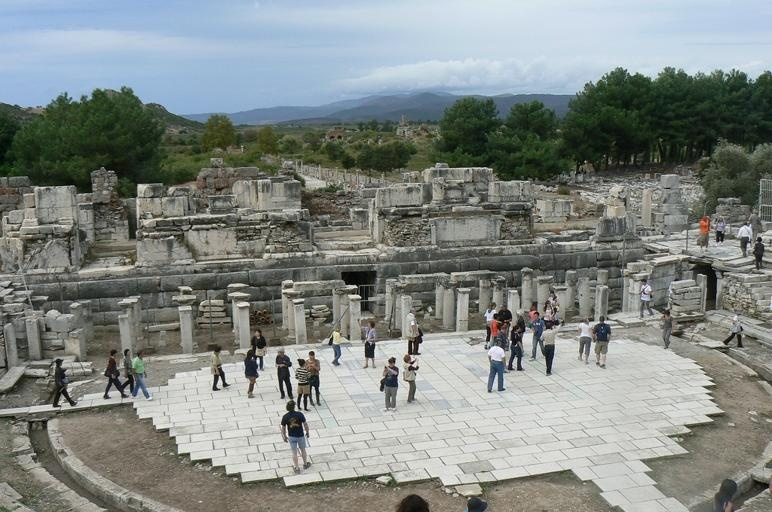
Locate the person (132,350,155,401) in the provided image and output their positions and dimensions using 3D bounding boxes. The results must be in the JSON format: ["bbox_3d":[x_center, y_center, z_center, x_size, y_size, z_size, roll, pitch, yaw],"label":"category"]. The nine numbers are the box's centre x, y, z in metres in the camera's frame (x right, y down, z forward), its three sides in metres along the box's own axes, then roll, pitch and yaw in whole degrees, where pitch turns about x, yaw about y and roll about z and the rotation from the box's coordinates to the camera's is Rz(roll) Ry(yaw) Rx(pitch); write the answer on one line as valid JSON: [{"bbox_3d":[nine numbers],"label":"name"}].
[{"bbox_3d":[-8.697,4.221,28.718,0.613,1.657,0.726,-9,10,-28],"label":"person"}]

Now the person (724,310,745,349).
[{"bbox_3d":[14.179,2.952,33.190,0.650,1.248,1.633,0,9,25],"label":"person"}]

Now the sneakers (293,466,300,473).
[{"bbox_3d":[-2.769,6.493,24.975,0.187,0.227,0.300,-6,8,-9],"label":"sneakers"}]

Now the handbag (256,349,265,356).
[{"bbox_3d":[-4.648,3.547,30.117,0.257,0.172,0.243,-6,14,-27],"label":"handbag"}]

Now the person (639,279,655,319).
[{"bbox_3d":[11.469,1.817,35.973,0.540,1.517,1.522,-2,9,17],"label":"person"}]

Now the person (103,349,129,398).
[{"bbox_3d":[-9.697,4.097,28.762,0.802,1.807,1.492,-8,9,-20],"label":"person"}]
